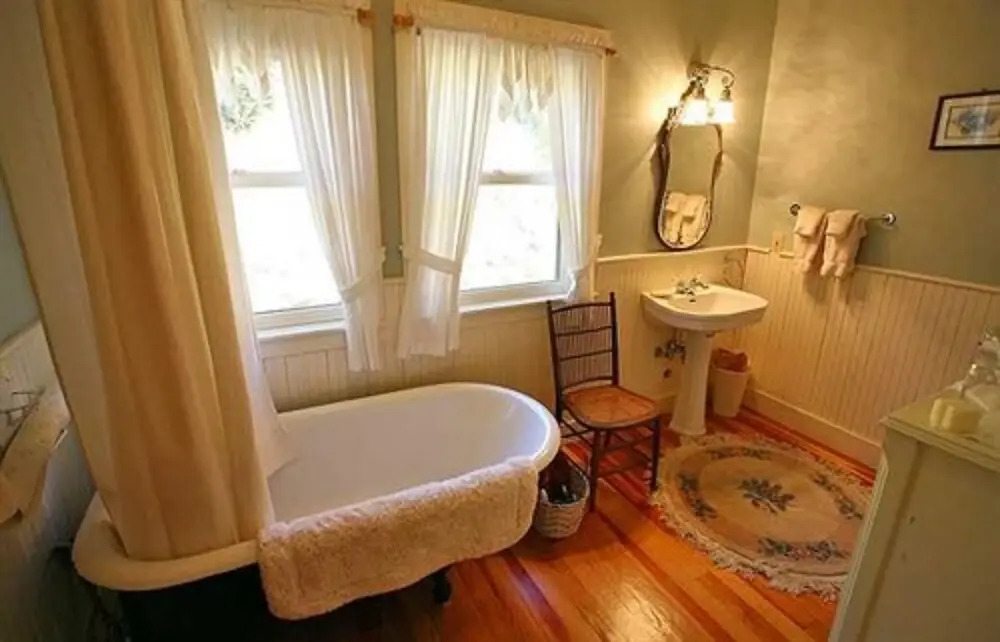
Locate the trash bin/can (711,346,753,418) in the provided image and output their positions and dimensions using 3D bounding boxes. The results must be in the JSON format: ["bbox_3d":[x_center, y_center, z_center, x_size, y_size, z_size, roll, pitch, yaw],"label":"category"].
[{"bbox_3d":[1.667,0.449,4.693,0.288,0.434,0.294,27,-24,-37],"label":"trash bin/can"}]

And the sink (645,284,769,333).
[{"bbox_3d":[1.358,-0.021,4.250,0.777,0.282,0.589,-11,19,-34],"label":"sink"}]

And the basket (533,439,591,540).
[{"bbox_3d":[0.365,1.006,3.585,0.251,0.191,0.304,15,44,-44],"label":"basket"}]

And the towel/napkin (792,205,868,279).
[{"bbox_3d":[2.109,-0.513,4.089,0.118,0.366,0.352,-14,32,-34],"label":"towel/napkin"}]

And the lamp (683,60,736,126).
[{"bbox_3d":[1.318,-1.466,4.105,0.356,0.424,0.226,-8,15,-29],"label":"lamp"}]

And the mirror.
[{"bbox_3d":[1.227,-1.009,4.173,0.038,1.146,0.526,-14,26,-32],"label":"mirror"}]

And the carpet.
[{"bbox_3d":[1.554,1.050,3.858,1.293,0.053,1.205,-17,31,-32],"label":"carpet"}]

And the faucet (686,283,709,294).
[{"bbox_3d":[1.308,-0.227,4.311,0.110,0.047,0.110,-13,8,-29],"label":"faucet"}]
